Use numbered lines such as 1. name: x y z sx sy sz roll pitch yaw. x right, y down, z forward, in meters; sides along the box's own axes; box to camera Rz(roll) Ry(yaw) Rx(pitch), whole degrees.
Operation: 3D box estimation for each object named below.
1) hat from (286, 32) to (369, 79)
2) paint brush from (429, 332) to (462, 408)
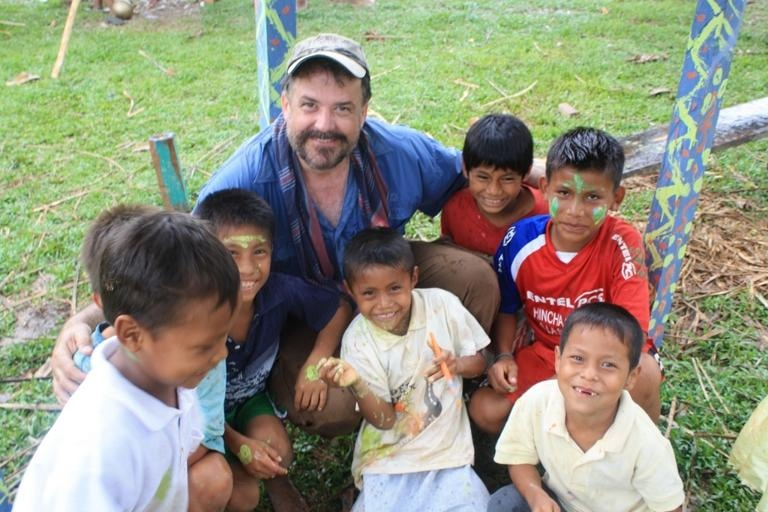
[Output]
1. hat: -0.396 -1.393 4.323 0.556 0.349 0.747 -1 3 -9
2. paint brush: 0.378 0.697 3.893 0.104 0.497 0.100 -19 -3 -7
